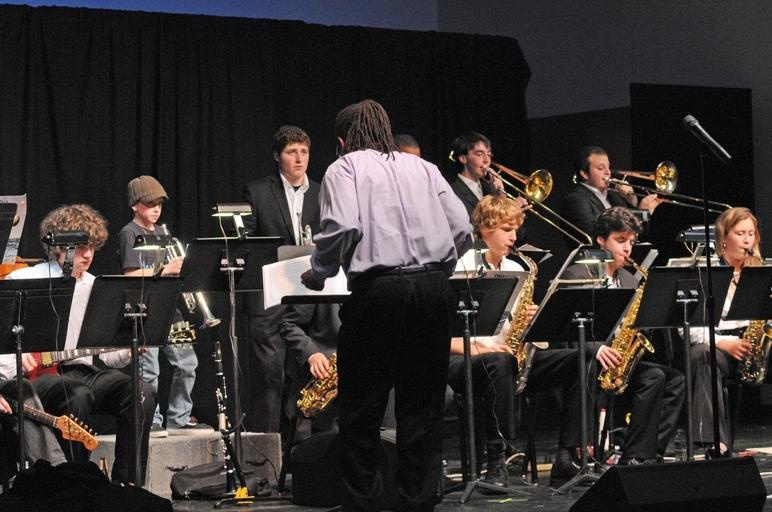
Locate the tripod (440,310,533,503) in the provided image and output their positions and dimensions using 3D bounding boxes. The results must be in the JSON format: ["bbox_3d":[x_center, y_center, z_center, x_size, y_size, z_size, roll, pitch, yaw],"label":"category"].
[{"bbox_3d":[0.663,1.056,5.760,0.601,1.302,0.553,1,7,-1],"label":"tripod"}]

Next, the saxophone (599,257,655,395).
[{"bbox_3d":[1.885,0.567,6.288,0.412,1.003,0.238,11,14,5],"label":"saxophone"}]

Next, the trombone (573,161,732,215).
[{"bbox_3d":[2.834,-0.744,8.912,1.411,0.508,0.477,12,-26,32],"label":"trombone"}]

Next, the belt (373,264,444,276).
[{"bbox_3d":[0.130,0.073,4.607,0.392,0.066,0.099,1,-1,-11],"label":"belt"}]
